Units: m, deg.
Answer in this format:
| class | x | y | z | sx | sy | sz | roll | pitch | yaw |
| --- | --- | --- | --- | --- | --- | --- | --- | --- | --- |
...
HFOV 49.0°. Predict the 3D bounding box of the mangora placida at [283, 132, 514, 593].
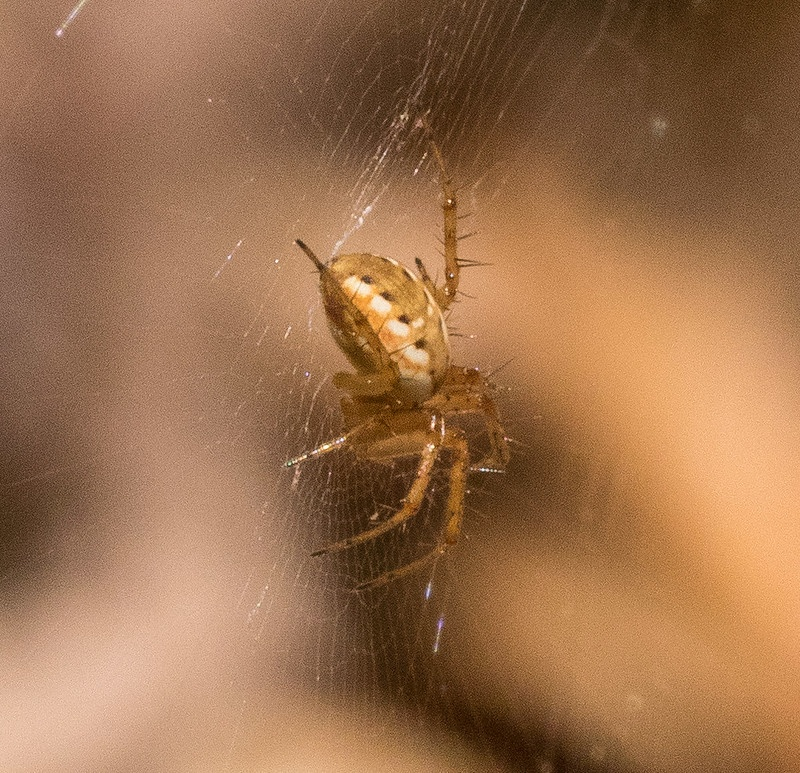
| class | x | y | z | sx | sy | sz | roll | pitch | yaw |
| --- | --- | --- | --- | --- | --- | --- | --- | --- | --- |
| mangora placida | -0.005 | 0.003 | 1.071 | 0.420 | 0.427 | 0.148 | 19 | -54 | -36 |
